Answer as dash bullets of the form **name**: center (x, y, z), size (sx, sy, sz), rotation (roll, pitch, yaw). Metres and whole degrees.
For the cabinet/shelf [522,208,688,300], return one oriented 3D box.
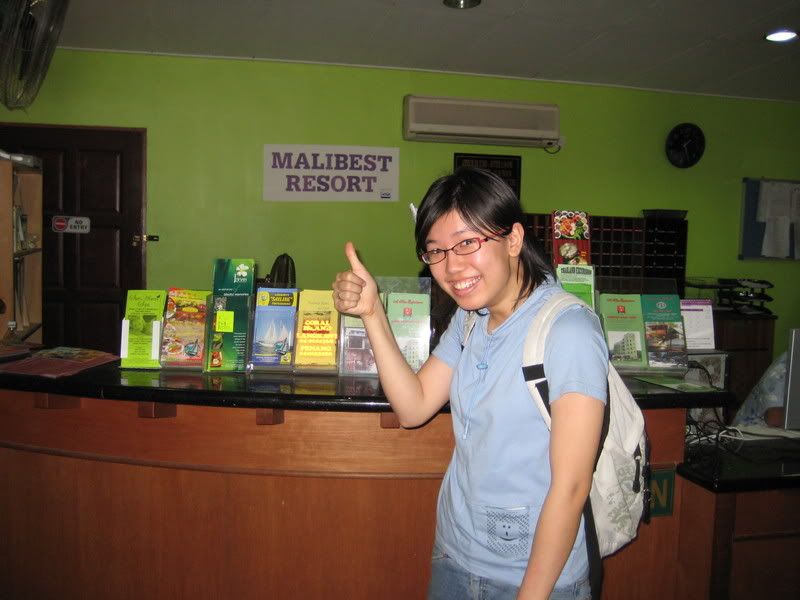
- **cabinet/shelf**: center (2.342, -0.448, 6.189), size (0.796, 0.792, 0.299), rotation (3, 23, 26)

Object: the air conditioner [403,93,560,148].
- **air conditioner**: center (0.761, -1.677, 5.829), size (1.369, 0.421, 0.256), rotation (3, 36, 2)
